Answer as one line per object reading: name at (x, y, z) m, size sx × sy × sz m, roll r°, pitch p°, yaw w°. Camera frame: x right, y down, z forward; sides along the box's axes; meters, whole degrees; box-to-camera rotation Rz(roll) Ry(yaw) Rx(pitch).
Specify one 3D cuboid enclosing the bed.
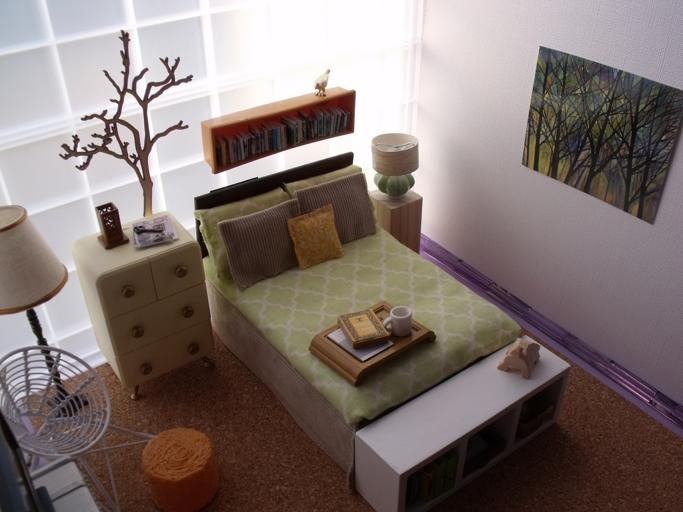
bed at (0.101, 0.299, 3.824) m, size 1.726 × 1.349 × 2.136 m, roll -16°, pitch 33°, yaw -27°

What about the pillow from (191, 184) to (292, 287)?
pillow at (-0.812, -0.088, 3.795) m, size 0.730 × 0.660 × 0.199 m, roll -25°, pitch 1°, yaw -39°

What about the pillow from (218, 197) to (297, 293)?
pillow at (-0.661, -0.057, 3.789) m, size 0.564 × 0.450 × 0.113 m, roll -27°, pitch 15°, yaw -27°

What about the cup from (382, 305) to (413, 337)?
cup at (0.381, 0.431, 3.205) m, size 0.130 × 0.159 × 0.219 m, roll 29°, pitch 48°, yaw 36°

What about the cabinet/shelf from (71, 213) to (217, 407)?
cabinet/shelf at (-1.425, 0.412, 3.719) m, size 0.775 × 1.125 × 0.605 m, roll -24°, pitch 38°, yaw -38°

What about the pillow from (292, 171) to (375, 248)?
pillow at (0.069, -0.475, 4.219) m, size 0.460 × 0.621 × 0.146 m, roll -21°, pitch 51°, yaw -2°

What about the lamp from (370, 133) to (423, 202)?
lamp at (0.438, -0.825, 4.663) m, size 0.498 × 0.668 × 0.542 m, roll -2°, pitch 38°, yaw 0°
